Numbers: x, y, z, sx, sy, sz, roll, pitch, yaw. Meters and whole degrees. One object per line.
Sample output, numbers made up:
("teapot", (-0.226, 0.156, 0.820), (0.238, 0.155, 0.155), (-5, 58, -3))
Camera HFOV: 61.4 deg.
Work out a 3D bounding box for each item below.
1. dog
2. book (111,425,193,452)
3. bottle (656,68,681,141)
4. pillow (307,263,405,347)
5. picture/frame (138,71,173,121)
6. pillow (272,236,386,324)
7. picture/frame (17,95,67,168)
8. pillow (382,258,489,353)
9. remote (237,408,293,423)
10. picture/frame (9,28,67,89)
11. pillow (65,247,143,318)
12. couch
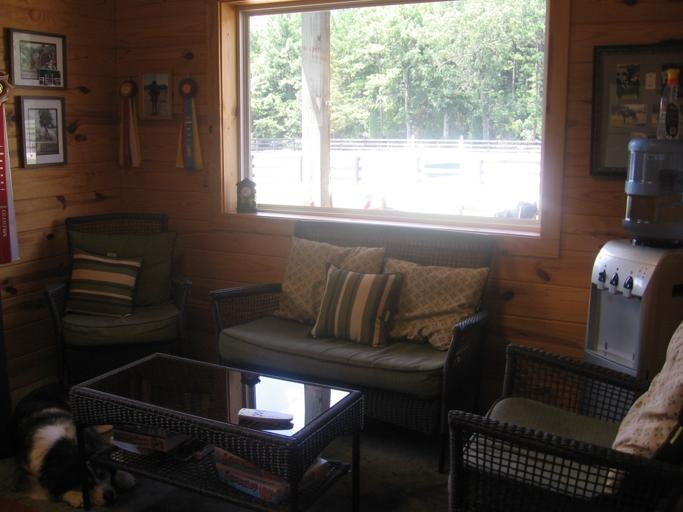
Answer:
("dog", (-1.376, 0.985, 2.869), (0.642, 0.309, 0.383), (13, 30, 23))
("book", (-0.865, 0.810, 2.567), (0.194, 0.069, 0.142), (1, -1, 21))
("bottle", (1.654, -0.765, 2.879), (0.105, 0.336, 0.258), (6, 14, 27))
("pillow", (0.086, 0.279, 3.226), (0.459, 0.415, 0.135), (6, -12, 26))
("picture/frame", (-1.339, -1.179, 4.177), (0.354, 0.419, 0.031), (4, 8, 23))
("pillow", (-0.050, 0.147, 3.418), (0.484, 0.327, 0.176), (13, 10, 25))
("picture/frame", (-1.969, -0.819, 3.757), (0.022, 0.534, 0.471), (5, 9, 24))
("pillow", (0.516, 0.275, 3.231), (0.503, 0.461, 0.152), (7, -14, 28))
("remote", (-0.325, 0.671, 2.447), (0.157, 0.016, 0.079), (3, 2, 7))
("picture/frame", (-1.961, -1.269, 3.688), (0.035, 0.408, 0.507), (12, 19, 30))
("pillow", (-1.547, 0.171, 3.729), (0.418, 0.380, 0.280), (0, 12, 1))
("couch", (0.091, 0.426, 3.386), (1.558, 1.021, 0.882), (5, 8, 35))
